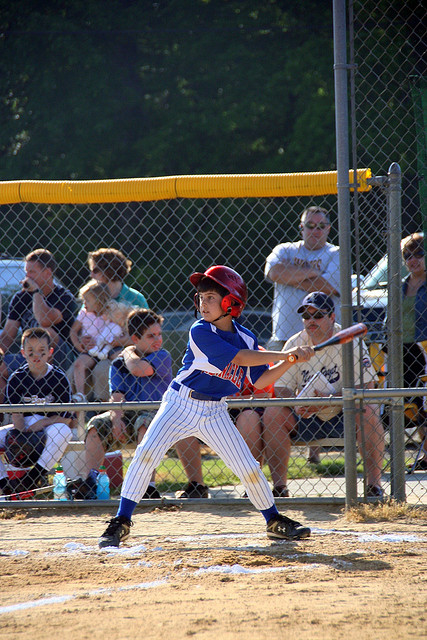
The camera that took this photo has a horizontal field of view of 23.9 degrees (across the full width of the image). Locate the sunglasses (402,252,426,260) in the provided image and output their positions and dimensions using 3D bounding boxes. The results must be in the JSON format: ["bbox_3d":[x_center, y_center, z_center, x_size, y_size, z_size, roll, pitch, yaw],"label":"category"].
[{"bbox_3d":[1.352,-0.423,6.731,0.060,0.044,0.204,-3,1,-28],"label":"sunglasses"}]

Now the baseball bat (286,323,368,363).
[{"bbox_3d":[0.628,0.131,5.416,0.511,0.077,0.074,-20,44,-40],"label":"baseball bat"}]

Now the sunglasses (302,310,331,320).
[{"bbox_3d":[0.599,-0.027,5.802,0.162,0.053,0.064,-2,2,2],"label":"sunglasses"}]

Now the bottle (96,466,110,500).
[{"bbox_3d":[-0.659,0.967,5.987,0.075,0.191,0.214,-2,2,-7],"label":"bottle"}]

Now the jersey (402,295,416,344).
[{"bbox_3d":[1.299,0.000,6.635,0.079,0.316,0.294,-2,2,11],"label":"jersey"}]

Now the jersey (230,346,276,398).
[{"bbox_3d":[0.198,0.260,5.037,0.285,0.260,0.153,1,-22,-1],"label":"jersey"}]

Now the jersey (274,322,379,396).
[{"bbox_3d":[0.681,0.304,5.970,0.647,0.525,0.276,1,18,27],"label":"jersey"}]

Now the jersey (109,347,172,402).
[{"bbox_3d":[-0.445,0.346,6.165,0.398,0.375,0.238,-4,-16,19],"label":"jersey"}]

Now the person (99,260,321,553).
[{"bbox_3d":[-0.078,0.454,4.989,0.789,1.377,1.097,5,-7,20],"label":"person"}]

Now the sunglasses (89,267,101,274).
[{"bbox_3d":[-0.786,-0.321,6.689,0.048,0.041,0.100,-2,1,-16],"label":"sunglasses"}]

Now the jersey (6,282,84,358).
[{"bbox_3d":[-1.127,0.021,6.725,0.470,0.563,0.359,-4,-11,19],"label":"jersey"}]

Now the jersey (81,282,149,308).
[{"bbox_3d":[-0.560,-0.167,6.973,0.212,0.176,0.459,-2,1,3],"label":"jersey"}]

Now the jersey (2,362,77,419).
[{"bbox_3d":[-1.075,0.449,6.237,0.379,0.293,0.153,-1,-11,0],"label":"jersey"}]

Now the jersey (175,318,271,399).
[{"bbox_3d":[0.053,0.188,4.934,0.457,0.395,0.360,-2,2,-13],"label":"jersey"}]
